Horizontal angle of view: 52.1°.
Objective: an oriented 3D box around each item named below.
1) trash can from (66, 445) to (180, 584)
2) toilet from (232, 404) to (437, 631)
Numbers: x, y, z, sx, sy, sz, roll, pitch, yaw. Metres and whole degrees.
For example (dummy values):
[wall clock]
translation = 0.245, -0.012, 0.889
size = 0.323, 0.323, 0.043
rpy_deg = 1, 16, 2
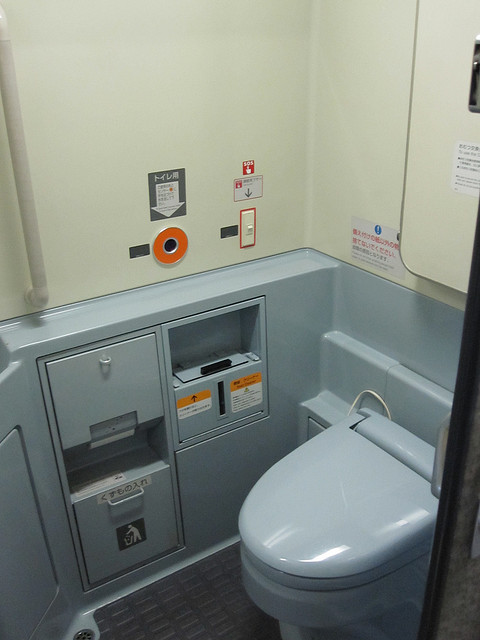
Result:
[trash can]
translation = -0.432, 0.746, 1.849
size = 0.357, 0.378, 0.247
rpy_deg = -13, 13, -27
[toilet]
translation = 0.329, 0.723, 1.577
size = 0.674, 0.522, 0.468
rpy_deg = -19, 28, -31
